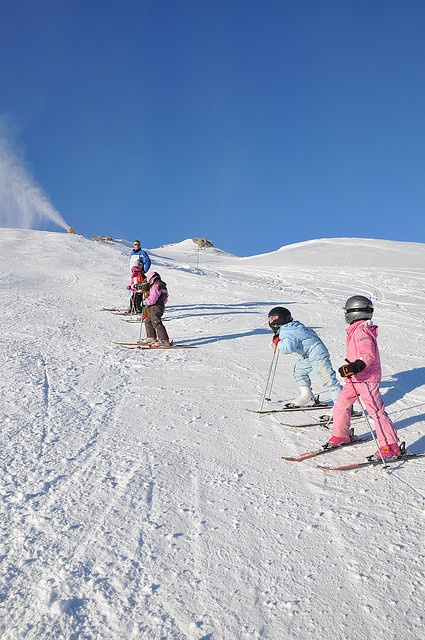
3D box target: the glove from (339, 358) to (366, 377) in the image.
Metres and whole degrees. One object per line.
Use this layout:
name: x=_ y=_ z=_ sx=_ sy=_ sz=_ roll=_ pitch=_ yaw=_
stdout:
glove: x=1.205 y=0.429 z=4.979 sx=0.218 sy=0.134 sz=0.085 roll=-18 pitch=-23 yaw=-7

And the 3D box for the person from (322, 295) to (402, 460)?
person: x=1.385 y=0.525 z=5.246 sx=0.599 sy=1.454 sz=0.722 roll=5 pitch=-4 yaw=-30

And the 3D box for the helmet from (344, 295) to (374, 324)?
helmet: x=1.436 y=-0.097 z=5.505 sx=0.238 sy=0.285 sz=0.294 roll=0 pitch=3 yaw=-39

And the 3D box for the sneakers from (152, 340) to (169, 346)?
sneakers: x=-0.859 y=0.396 z=9.759 sx=0.290 sy=0.125 sz=0.093 roll=0 pitch=6 yaw=14

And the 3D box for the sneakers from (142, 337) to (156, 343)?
sneakers: x=-1.084 y=0.369 z=9.934 sx=0.245 sy=0.099 sz=0.087 roll=0 pitch=0 yaw=3

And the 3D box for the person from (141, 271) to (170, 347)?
person: x=-0.948 y=-0.192 z=9.916 sx=0.437 sy=1.157 sz=0.747 roll=3 pitch=11 yaw=-11
